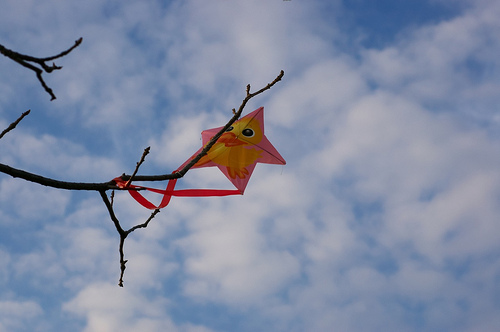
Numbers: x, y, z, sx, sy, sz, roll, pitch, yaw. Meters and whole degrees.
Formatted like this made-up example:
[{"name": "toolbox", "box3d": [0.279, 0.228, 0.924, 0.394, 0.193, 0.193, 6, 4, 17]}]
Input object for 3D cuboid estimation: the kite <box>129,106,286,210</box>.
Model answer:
[{"name": "kite", "box3d": [-0.481, 0.050, 18.018, 2.531, 1.458, 1.363, -9, -42, -30]}]
